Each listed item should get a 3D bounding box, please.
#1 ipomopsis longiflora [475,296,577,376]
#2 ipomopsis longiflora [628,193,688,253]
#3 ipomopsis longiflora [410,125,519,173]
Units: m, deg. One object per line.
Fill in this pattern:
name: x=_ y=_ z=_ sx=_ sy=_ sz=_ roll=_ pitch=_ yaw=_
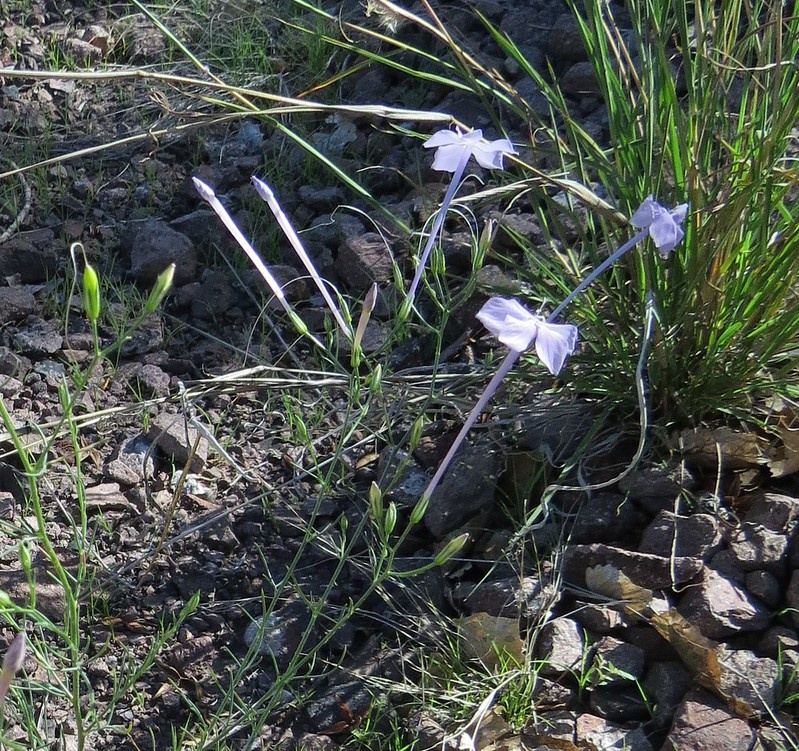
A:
ipomopsis longiflora: x=0.218 y=-0.065 z=1.517 sx=0.167 sy=0.098 sz=0.112 roll=30 pitch=62 yaw=21
ipomopsis longiflora: x=0.476 y=-0.269 z=1.678 sx=0.046 sy=0.108 sz=0.086 roll=-39 pitch=85 yaw=-15
ipomopsis longiflora: x=0.151 y=-0.440 z=1.769 sx=0.138 sy=0.060 sz=0.131 roll=-11 pitch=23 yaw=-7
